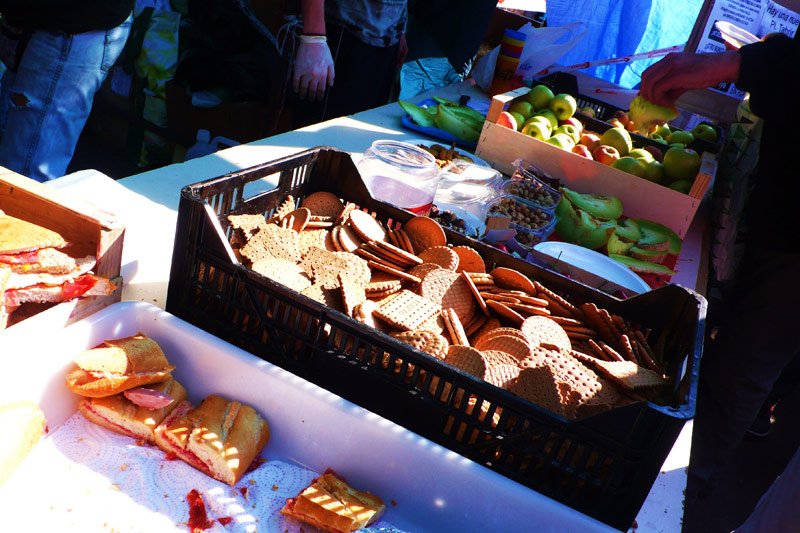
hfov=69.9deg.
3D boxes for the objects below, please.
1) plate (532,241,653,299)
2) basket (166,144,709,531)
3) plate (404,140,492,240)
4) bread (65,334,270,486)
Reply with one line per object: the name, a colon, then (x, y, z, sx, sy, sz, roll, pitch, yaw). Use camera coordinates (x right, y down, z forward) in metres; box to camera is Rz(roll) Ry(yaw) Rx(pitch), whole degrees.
plate: (0.551, -0.057, 1.765, 0.378, 0.157, 0.381, 3, 18, 15)
basket: (0.092, 0.095, 1.272, 1.054, 0.413, 0.615, 21, 35, 19)
plate: (0.193, -0.241, 1.918, 0.246, 0.067, 0.383, 42, 25, 13)
bread: (-0.458, 0.269, 1.149, 0.392, 0.175, 0.150, 15, 33, 10)
